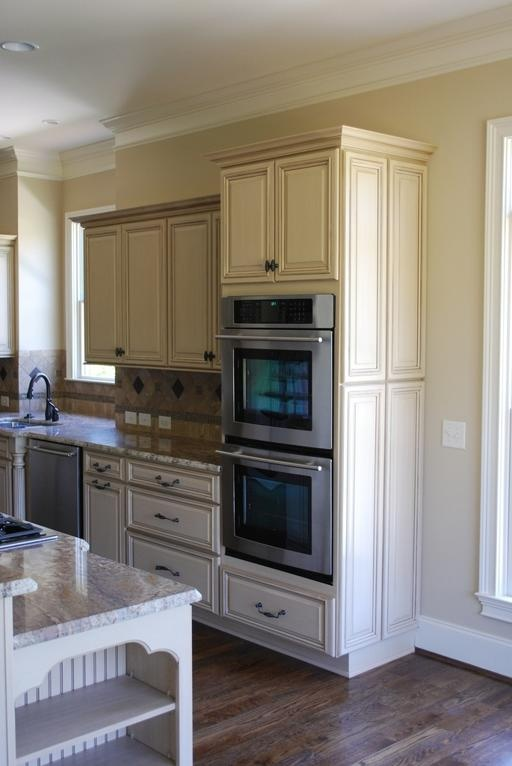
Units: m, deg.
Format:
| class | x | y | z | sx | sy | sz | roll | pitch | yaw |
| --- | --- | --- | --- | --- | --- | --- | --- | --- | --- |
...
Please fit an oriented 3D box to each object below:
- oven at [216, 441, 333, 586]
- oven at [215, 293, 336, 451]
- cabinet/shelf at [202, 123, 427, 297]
| class | x | y | z | sx | sy | sz | roll | pitch | yaw |
| --- | --- | --- | --- | --- | --- | --- | --- | --- | --- |
| oven | 0.173 | 0.562 | 2.945 | 0.655 | 0.549 | 0.457 | 2 | 3 | 39 |
| oven | 0.103 | -0.048 | 2.775 | 0.385 | 0.724 | 0.738 | 0 | 1 | -38 |
| cabinet/shelf | 0.265 | -0.728 | 2.940 | 0.487 | 0.664 | 0.870 | -7 | 12 | -39 |
